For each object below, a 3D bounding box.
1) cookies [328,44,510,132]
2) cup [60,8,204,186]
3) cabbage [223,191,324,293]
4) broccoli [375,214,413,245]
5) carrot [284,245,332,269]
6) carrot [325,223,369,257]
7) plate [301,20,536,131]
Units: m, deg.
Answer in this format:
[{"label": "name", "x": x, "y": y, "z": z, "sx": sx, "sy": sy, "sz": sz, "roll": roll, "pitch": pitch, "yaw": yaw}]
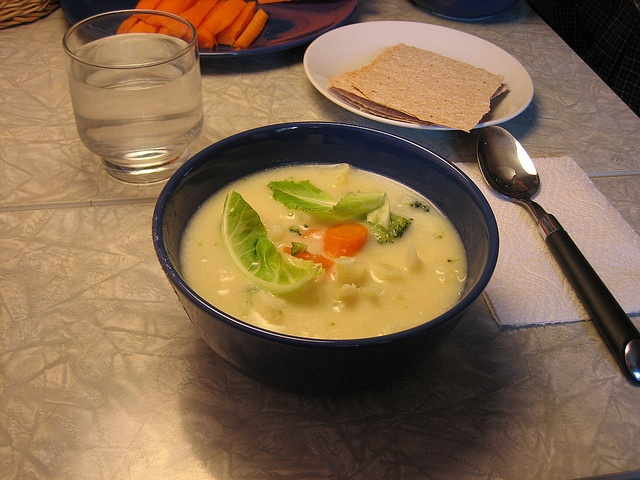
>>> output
[{"label": "cookies", "x": 0.272, "y": -0.389, "z": 1.280, "sx": 0.339, "sy": 0.035, "sz": 0.329, "roll": 27, "pitch": 46, "yaw": 26}, {"label": "cup", "x": -0.384, "y": -0.306, "z": 1.123, "sx": 0.312, "sy": 0.362, "sz": 0.343, "roll": 19, "pitch": 35, "yaw": 26}, {"label": "cabbage", "x": -0.101, "y": 0.007, "z": 0.766, "sx": 0.086, "sy": 0.044, "sz": 0.201, "roll": -33, "pitch": 60, "yaw": -26}, {"label": "broccoli", "x": 0.122, "y": -0.023, "z": 0.876, "sx": 0.061, "sy": 0.014, "sz": 0.050, "roll": 25, "pitch": 86, "yaw": 31}, {"label": "carrot", "x": -0.016, "y": 0.027, "z": 0.811, "sx": 0.047, "sy": 0.014, "sz": 0.045, "roll": 32, "pitch": 32, "yaw": 17}, {"label": "carrot", "x": 0.041, "y": 0.001, "z": 0.834, "sx": 0.067, "sy": 0.022, "sz": 0.047, "roll": -28, "pitch": 72, "yaw": -11}, {"label": "plate", "x": 0.239, "y": -0.520, "z": 1.301, "sx": 0.533, "sy": 0.073, "sz": 0.454, "roll": 0, "pitch": 39, "yaw": -2}]
